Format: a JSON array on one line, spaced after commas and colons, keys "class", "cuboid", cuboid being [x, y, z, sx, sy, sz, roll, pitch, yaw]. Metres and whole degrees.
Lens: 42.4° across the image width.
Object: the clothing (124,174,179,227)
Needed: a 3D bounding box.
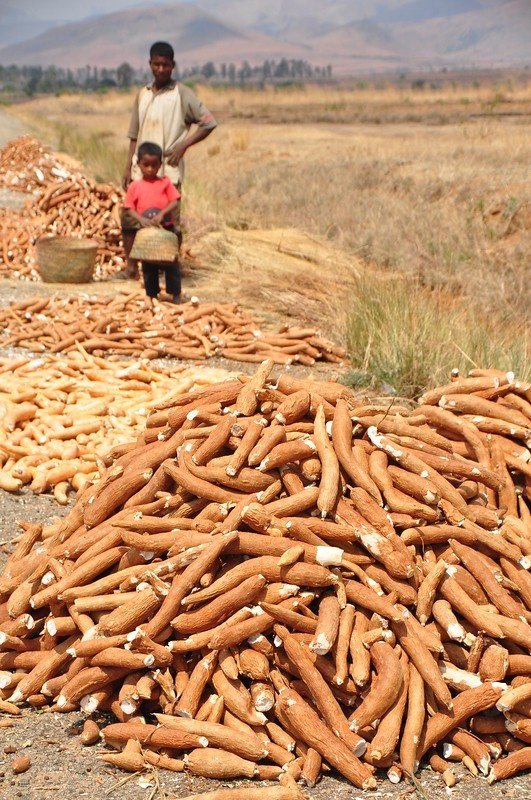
[{"class": "clothing", "cuboid": [-1.138, -1.990, 7.000, 0.580, 0.576, 0.321, -7, -6, -5]}]
